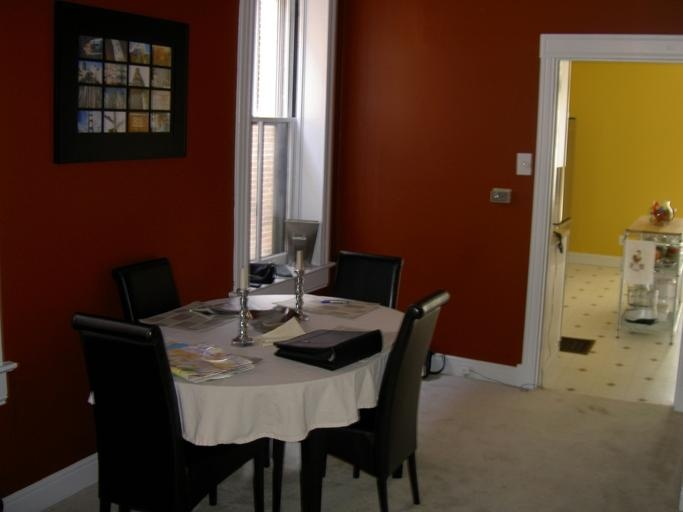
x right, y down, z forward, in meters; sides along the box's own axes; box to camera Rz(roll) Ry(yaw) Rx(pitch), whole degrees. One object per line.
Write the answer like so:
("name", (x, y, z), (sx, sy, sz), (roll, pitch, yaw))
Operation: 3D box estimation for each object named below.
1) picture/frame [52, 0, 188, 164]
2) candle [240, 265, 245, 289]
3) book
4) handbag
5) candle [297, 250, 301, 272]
("picture/frame", (-1.201, -0.934, 3.101), (0.056, 0.811, 0.873), (10, 14, 33))
("candle", (-0.455, 0.104, 2.715), (0.034, 0.113, 0.073), (-1, 11, -11))
("book", (-0.024, 0.418, 2.678), (0.242, 0.086, 0.263), (2, 3, 36))
("handbag", (-0.080, 0.420, 2.664), (0.247, 0.082, 0.254), (2, 5, 38))
("candle", (-0.226, 0.027, 3.106), (0.032, 0.118, 0.062), (0, 11, -7))
